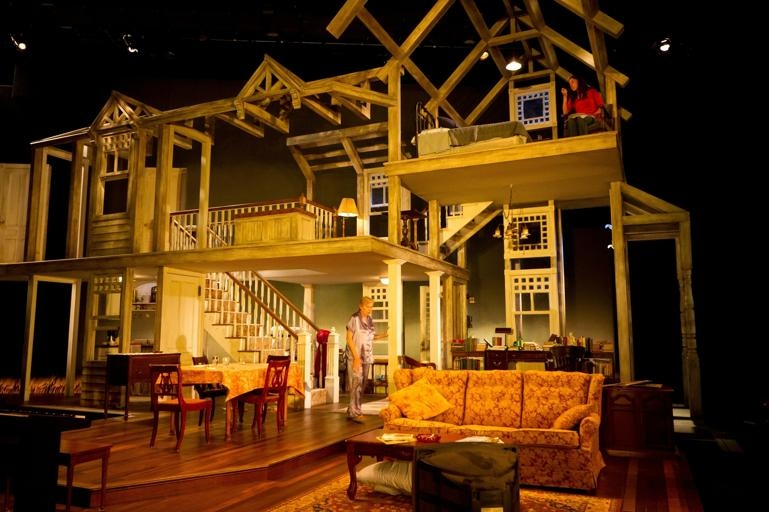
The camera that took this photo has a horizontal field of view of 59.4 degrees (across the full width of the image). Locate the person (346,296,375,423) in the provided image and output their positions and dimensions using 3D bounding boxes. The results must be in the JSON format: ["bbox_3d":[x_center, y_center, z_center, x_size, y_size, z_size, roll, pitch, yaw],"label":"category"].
[{"bbox_3d":[-0.486,2.028,13.350,0.493,2.394,0.704,1,-9,-1],"label":"person"}]

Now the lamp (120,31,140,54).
[{"bbox_3d":[-6.730,-5.489,17.811,0.433,0.409,1.182,3,-9,-16],"label":"lamp"}]

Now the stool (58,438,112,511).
[{"bbox_3d":[-4.411,3.225,9.851,0.691,0.994,0.624,5,-10,-26],"label":"stool"}]

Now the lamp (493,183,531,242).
[{"bbox_3d":[3.106,-0.870,16.193,0.684,1.230,2.754,-1,-9,13],"label":"lamp"}]

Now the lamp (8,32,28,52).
[{"bbox_3d":[-9.234,-5.324,16.862,0.580,0.408,0.363,-5,-10,29],"label":"lamp"}]

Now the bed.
[{"bbox_3d":[1.924,-2.594,15.111,2.083,1.071,1.415,-3,0,18],"label":"bed"}]

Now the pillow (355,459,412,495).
[{"bbox_3d":[0.034,3.350,10.334,0.741,0.241,0.517,-6,-9,30],"label":"pillow"}]

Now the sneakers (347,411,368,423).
[{"bbox_3d":[-0.538,3.218,13.429,0.389,0.163,0.144,-5,-7,33],"label":"sneakers"}]

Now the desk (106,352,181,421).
[{"bbox_3d":[-5.233,2.675,14.594,0.574,1.130,1.701,2,-5,18],"label":"desk"}]

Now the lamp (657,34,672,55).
[{"bbox_3d":[6.575,-4.984,15.911,0.287,0.353,0.363,13,-5,-23],"label":"lamp"}]
